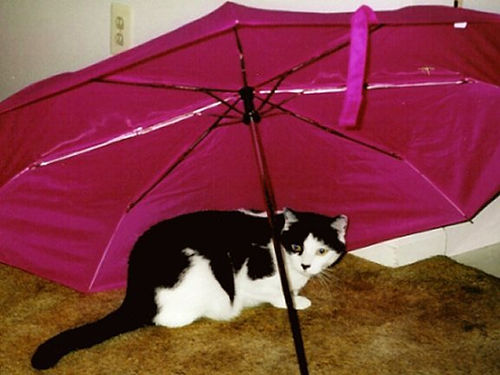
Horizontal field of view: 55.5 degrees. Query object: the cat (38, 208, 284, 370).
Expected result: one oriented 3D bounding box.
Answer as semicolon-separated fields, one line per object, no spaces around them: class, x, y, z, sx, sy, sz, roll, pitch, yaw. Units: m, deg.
cat;-0.230;0.317;1.869;1.092;0.438;0.329;-15;0;-17
